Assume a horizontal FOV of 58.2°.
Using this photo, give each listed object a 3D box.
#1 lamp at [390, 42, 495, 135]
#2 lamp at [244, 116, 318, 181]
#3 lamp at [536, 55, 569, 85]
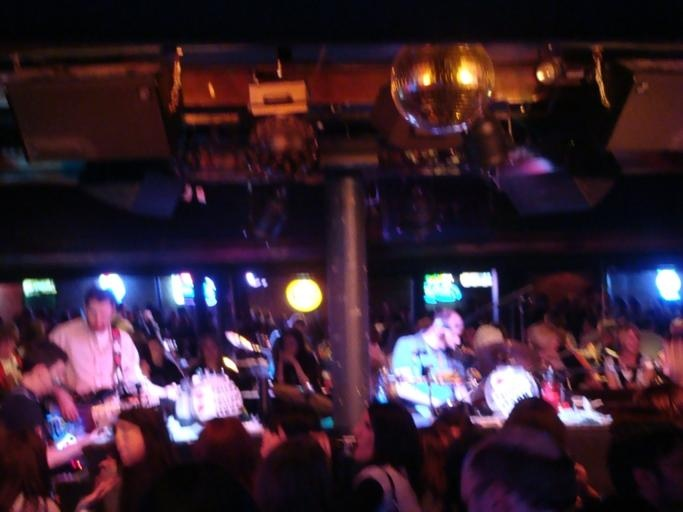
[{"bbox_3d":[0.501,-0.824,3.049,0.516,0.469,0.550,2,9,4],"label":"lamp"},{"bbox_3d":[-0.386,-0.727,3.839,0.460,0.325,0.478,-7,31,-25],"label":"lamp"},{"bbox_3d":[1.244,-1.097,3.654,0.171,0.125,0.059,-5,-3,1],"label":"lamp"}]
